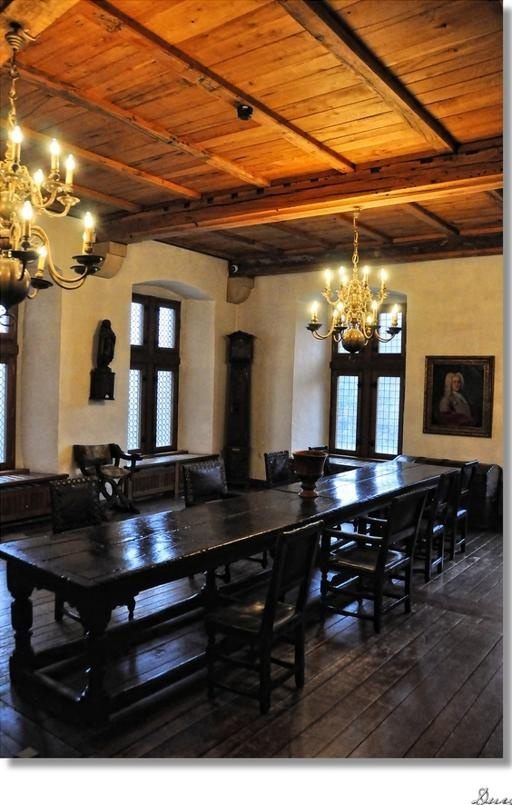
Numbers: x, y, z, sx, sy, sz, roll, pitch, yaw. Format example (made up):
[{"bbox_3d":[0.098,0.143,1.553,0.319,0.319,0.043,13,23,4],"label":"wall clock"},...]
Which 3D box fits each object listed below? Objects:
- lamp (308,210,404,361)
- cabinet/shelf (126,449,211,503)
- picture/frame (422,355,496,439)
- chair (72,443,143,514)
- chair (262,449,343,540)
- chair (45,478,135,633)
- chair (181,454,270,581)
[{"bbox_3d":[0.859,-1.117,5.338,0.715,1.420,0.682,11,-14,-38],"label":"lamp"},{"bbox_3d":[-1.259,1.006,8.349,0.534,0.611,1.965,-3,-2,32],"label":"cabinet/shelf"},{"bbox_3d":[2.439,-0.081,7.313,0.939,1.153,0.083,6,6,40],"label":"picture/frame"},{"bbox_3d":[-1.654,0.839,6.816,0.561,0.712,0.599,4,2,31],"label":"chair"},{"bbox_3d":[0.451,0.937,5.803,0.618,0.928,0.568,-1,-2,21],"label":"chair"},{"bbox_3d":[-1.003,0.870,3.824,0.524,0.773,0.535,-1,1,23],"label":"chair"},{"bbox_3d":[-0.236,0.916,4.883,0.645,0.857,0.639,-3,8,-20],"label":"chair"}]
